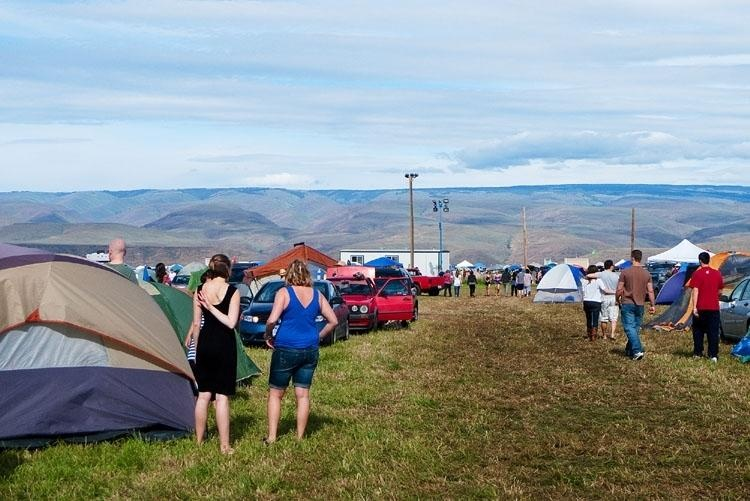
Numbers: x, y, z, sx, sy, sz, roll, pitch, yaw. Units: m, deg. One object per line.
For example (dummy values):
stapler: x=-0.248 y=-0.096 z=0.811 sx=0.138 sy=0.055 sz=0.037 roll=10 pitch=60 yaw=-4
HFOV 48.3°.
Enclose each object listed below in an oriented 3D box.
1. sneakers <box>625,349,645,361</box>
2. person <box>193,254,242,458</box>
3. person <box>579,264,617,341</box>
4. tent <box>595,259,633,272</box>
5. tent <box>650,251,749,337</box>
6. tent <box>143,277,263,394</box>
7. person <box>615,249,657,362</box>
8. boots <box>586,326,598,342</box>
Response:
sneakers: x=5.460 y=2.212 z=17.657 sx=0.210 sy=0.147 sz=0.439 roll=13 pitch=-6 yaw=-29
person: x=-2.123 y=1.359 z=11.138 sx=0.636 sy=2.574 sz=0.546 roll=-1 pitch=3 yaw=1
person: x=5.590 y=1.232 z=20.741 sx=0.822 sy=2.014 sz=1.572 roll=0 pitch=3 yaw=14
tent: x=13.612 y=0.761 z=47.236 sx=1.358 sy=0.467 sz=1.410 roll=-1 pitch=-4 yaw=-16
tent: x=9.043 y=1.226 z=23.354 sx=2.296 sy=0.956 sz=2.272 roll=-13 pitch=4 yaw=36
tent: x=-2.905 y=1.330 z=14.148 sx=2.177 sy=0.909 sz=2.021 roll=2 pitch=1 yaw=-5
person: x=5.550 y=1.128 z=17.883 sx=0.746 sy=2.279 sz=1.090 roll=0 pitch=3 yaw=17
boots: x=5.329 y=2.061 z=20.610 sx=0.413 sy=0.427 sz=0.369 roll=-1 pitch=-2 yaw=3
